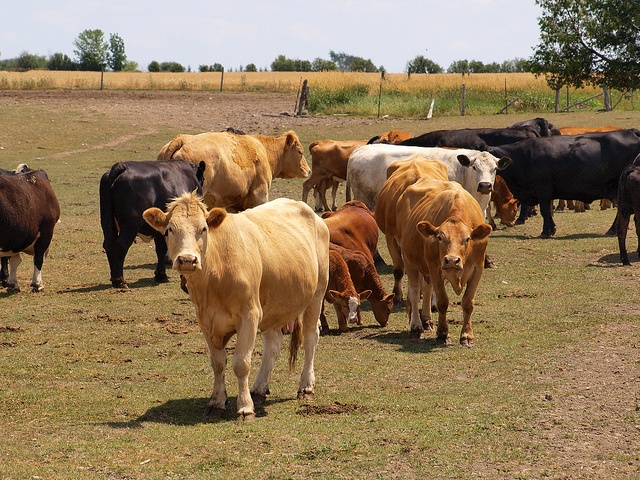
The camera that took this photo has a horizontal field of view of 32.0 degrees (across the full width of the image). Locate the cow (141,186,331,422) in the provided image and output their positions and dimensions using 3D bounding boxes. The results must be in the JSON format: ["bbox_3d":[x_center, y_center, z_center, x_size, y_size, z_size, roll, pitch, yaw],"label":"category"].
[{"bbox_3d":[-1.034,0.911,16.912,2.685,3.321,0.989,-5,9,-37],"label":"cow"}]

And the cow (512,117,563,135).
[{"bbox_3d":[6.098,-3.180,31.253,1.143,0.392,0.777,-1,7,-20],"label":"cow"}]

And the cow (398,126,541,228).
[{"bbox_3d":[3.630,-2.042,28.194,4.331,2.063,1.822,-2,14,3],"label":"cow"}]
